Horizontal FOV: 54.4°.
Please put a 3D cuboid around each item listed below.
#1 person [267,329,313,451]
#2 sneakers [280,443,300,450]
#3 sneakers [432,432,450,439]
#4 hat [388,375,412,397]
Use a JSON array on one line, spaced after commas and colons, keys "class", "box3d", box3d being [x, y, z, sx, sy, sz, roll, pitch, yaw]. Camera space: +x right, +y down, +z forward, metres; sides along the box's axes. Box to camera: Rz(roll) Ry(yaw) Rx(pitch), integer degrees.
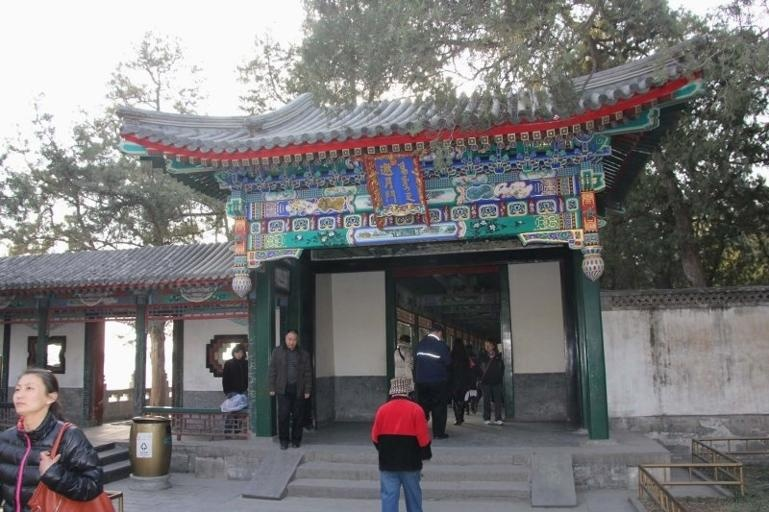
[{"class": "person", "box3d": [-1.752, 2.498, 13.956, 0.770, 2.139, 0.399, 0, -10, -9]}, {"class": "sneakers", "box3d": [-1.731, 3.495, 13.708, 0.350, 0.110, 0.217, -2, -11, -3]}, {"class": "sneakers", "box3d": [1.077, 3.462, 14.316, 0.309, 0.131, 0.103, 2, -10, -28]}, {"class": "hat", "box3d": [0.228, 1.923, 10.908, 0.319, 0.254, 0.236, 3, -5, 6]}]
